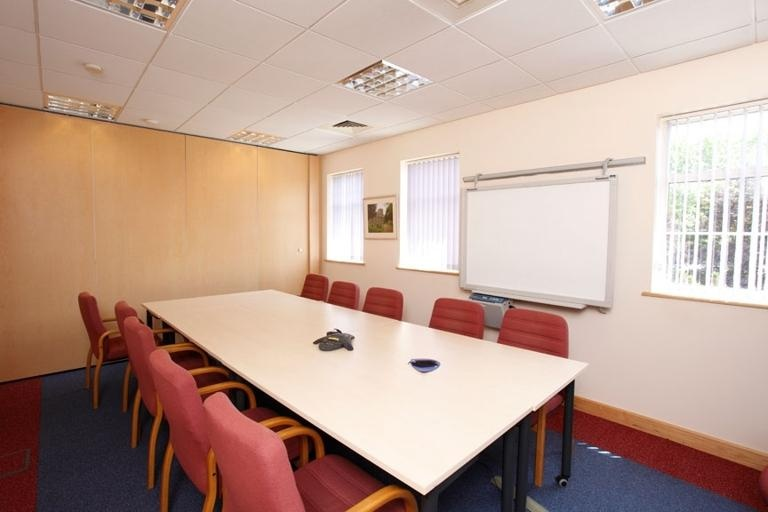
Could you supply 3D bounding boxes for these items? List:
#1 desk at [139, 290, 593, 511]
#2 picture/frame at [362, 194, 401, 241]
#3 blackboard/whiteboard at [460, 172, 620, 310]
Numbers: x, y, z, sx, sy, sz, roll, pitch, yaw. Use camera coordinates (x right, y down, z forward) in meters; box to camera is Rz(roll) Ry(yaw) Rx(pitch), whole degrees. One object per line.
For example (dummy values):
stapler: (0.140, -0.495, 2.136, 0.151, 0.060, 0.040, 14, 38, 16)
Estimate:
desk: (-0.307, 1.398, 4.855, 3.564, 1.286, 1.990, 9, 7, 40)
picture/frame: (-0.014, -0.600, 7.577, 0.031, 0.701, 0.724, -1, 1, -45)
blackboard/whiteboard: (1.907, -0.177, 5.862, 1.657, 1.373, 0.113, 2, 2, 41)
